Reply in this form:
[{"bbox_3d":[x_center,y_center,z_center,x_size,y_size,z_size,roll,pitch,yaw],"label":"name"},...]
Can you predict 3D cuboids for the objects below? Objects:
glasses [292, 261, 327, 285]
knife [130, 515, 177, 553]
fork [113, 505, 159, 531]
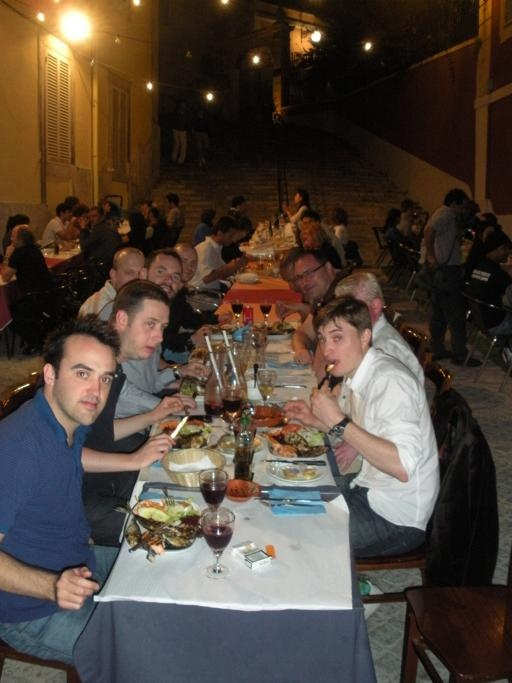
[{"bbox_3d":[0.397,-0.467,3.705,0.178,0.060,0.185,-6,-7,43],"label":"glasses"},{"bbox_3d":[-0.229,0.405,1.086,0.062,0.026,0.060,25,21,8],"label":"knife"},{"bbox_3d":[-0.259,0.397,1.166,0.100,0.051,0.057,5,37,1],"label":"fork"}]
